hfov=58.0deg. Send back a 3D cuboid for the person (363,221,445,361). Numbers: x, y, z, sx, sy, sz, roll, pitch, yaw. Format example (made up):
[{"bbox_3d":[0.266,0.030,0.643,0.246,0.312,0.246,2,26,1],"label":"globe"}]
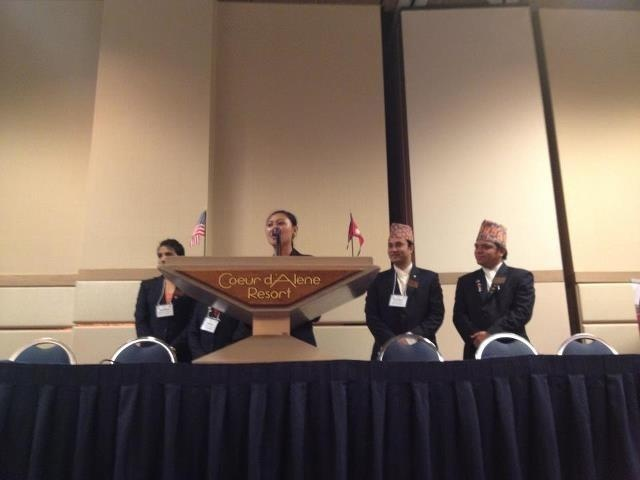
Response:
[{"bbox_3d":[0.744,0.811,5.084,0.665,1.867,0.525,-2,-8,13],"label":"person"}]

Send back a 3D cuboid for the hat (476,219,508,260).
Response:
[{"bbox_3d":[1.620,0.016,5.410,0.283,0.322,0.282,1,-23,38],"label":"hat"}]

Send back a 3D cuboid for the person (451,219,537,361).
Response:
[{"bbox_3d":[1.546,0.780,5.144,0.683,1.868,0.597,-6,-14,29],"label":"person"}]

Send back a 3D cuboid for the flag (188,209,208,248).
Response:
[{"bbox_3d":[-1.048,-0.102,4.891,0.026,0.364,0.291,4,-7,-30],"label":"flag"}]

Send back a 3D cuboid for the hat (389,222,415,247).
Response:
[{"bbox_3d":[0.755,-0.045,5.327,0.184,0.146,0.197,0,-4,23],"label":"hat"}]
